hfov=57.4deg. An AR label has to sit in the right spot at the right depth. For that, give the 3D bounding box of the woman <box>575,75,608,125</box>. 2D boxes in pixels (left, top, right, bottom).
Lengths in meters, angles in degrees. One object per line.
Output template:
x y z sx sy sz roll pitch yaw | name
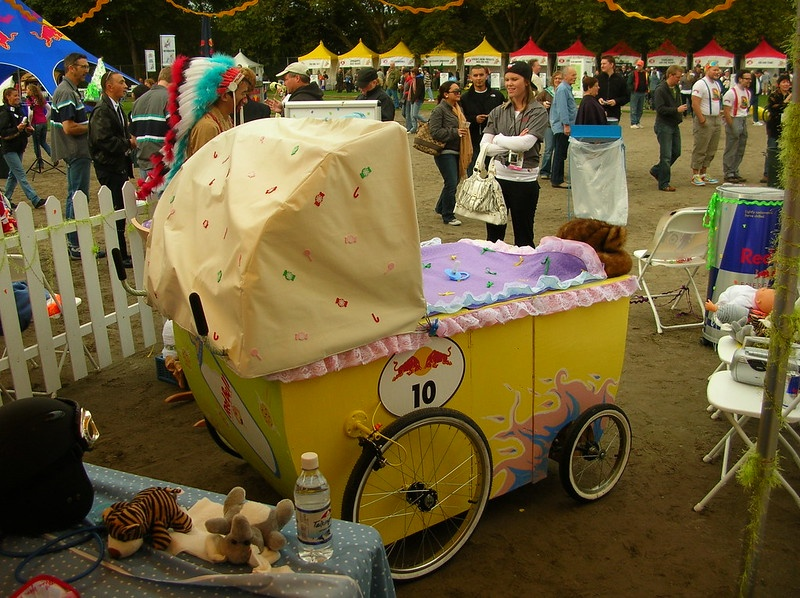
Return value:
2.906 -2.915 10.964 0.372 0.785 0.569 -8 28 13 | woman

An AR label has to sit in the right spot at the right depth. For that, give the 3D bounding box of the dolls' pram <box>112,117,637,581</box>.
0.102 0.148 4.429 2.615 2.348 1.827 -10 16 -27 | dolls' pram

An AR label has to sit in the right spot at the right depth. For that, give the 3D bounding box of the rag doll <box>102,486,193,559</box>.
-1.024 0.841 2.999 0.385 0.230 0.333 -5 16 -37 | rag doll

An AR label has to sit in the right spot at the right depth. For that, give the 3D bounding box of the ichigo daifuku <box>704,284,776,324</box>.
2.497 0.035 5.310 0.355 0.224 0.382 2 16 0 | ichigo daifuku

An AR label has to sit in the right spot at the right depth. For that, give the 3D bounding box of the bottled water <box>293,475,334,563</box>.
-0.348 0.877 2.957 0.134 0.358 0.135 1 10 11 | bottled water

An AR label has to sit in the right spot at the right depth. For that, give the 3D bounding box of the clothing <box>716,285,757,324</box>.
2.474 0.015 5.345 0.315 0.125 0.231 -42 36 -14 | clothing

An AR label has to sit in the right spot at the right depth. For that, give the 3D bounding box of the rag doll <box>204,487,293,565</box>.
-0.609 0.927 2.986 0.307 0.196 0.421 9 4 -4 | rag doll

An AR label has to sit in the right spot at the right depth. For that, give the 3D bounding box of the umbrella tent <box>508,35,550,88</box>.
6.777 -12.326 38.292 2.170 2.387 2.161 -17 17 -40 | umbrella tent
